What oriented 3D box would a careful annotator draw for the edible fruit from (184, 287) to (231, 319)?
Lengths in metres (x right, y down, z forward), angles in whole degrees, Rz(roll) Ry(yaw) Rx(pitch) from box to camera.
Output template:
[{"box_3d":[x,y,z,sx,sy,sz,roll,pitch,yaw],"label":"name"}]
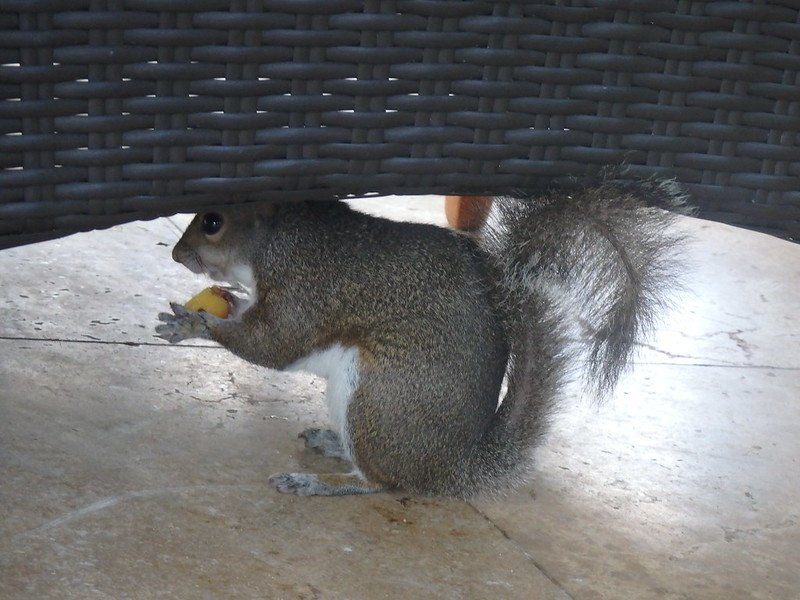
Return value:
[{"box_3d":[-0.673,0.009,3.936,0.151,0.055,0.105,-1,25,5],"label":"edible fruit"}]
